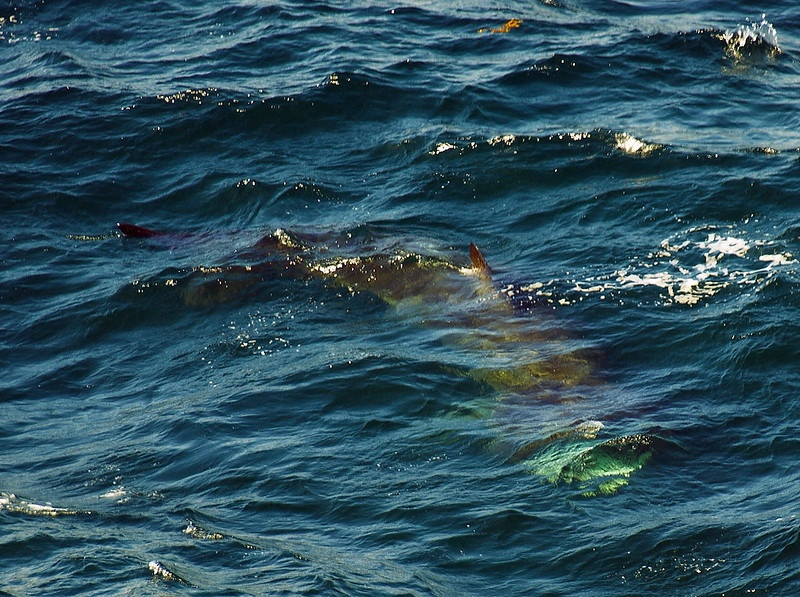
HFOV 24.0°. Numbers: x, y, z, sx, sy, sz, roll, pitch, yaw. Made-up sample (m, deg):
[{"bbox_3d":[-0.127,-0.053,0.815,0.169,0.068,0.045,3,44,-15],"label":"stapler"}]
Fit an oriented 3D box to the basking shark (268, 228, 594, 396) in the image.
[{"bbox_3d":[0.528,0.114,24.990,5.397,1.432,1.153,28,93,38],"label":"basking shark"}]
